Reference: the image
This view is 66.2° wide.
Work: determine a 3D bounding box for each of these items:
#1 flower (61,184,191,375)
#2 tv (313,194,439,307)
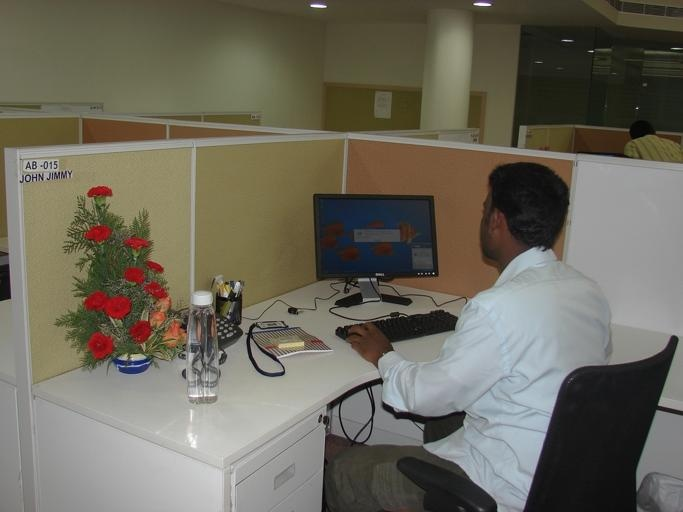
[{"bbox_3d":[-0.648,0.130,1.606,0.292,0.454,0.325,-1,4,24],"label":"flower"},{"bbox_3d":[0.149,-0.042,2.295,0.433,0.426,0.164,-2,7,-14],"label":"tv"}]
